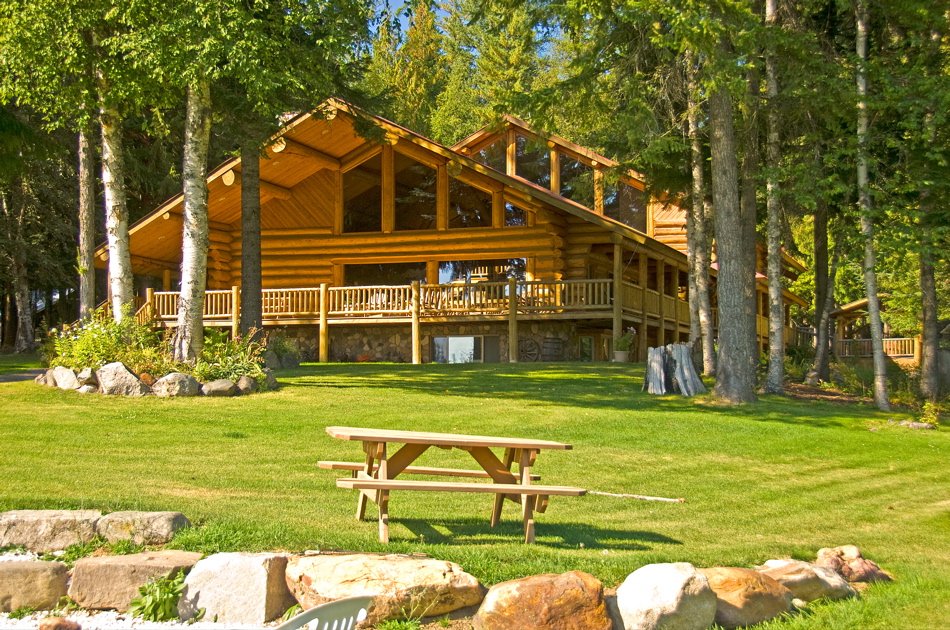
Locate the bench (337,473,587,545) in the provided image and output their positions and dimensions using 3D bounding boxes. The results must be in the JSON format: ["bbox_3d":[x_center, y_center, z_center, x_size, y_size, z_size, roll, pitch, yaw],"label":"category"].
[{"bbox_3d":[-0.219,2.980,14.492,3.372,0.922,2.076,2,-7,-9],"label":"bench"}]
